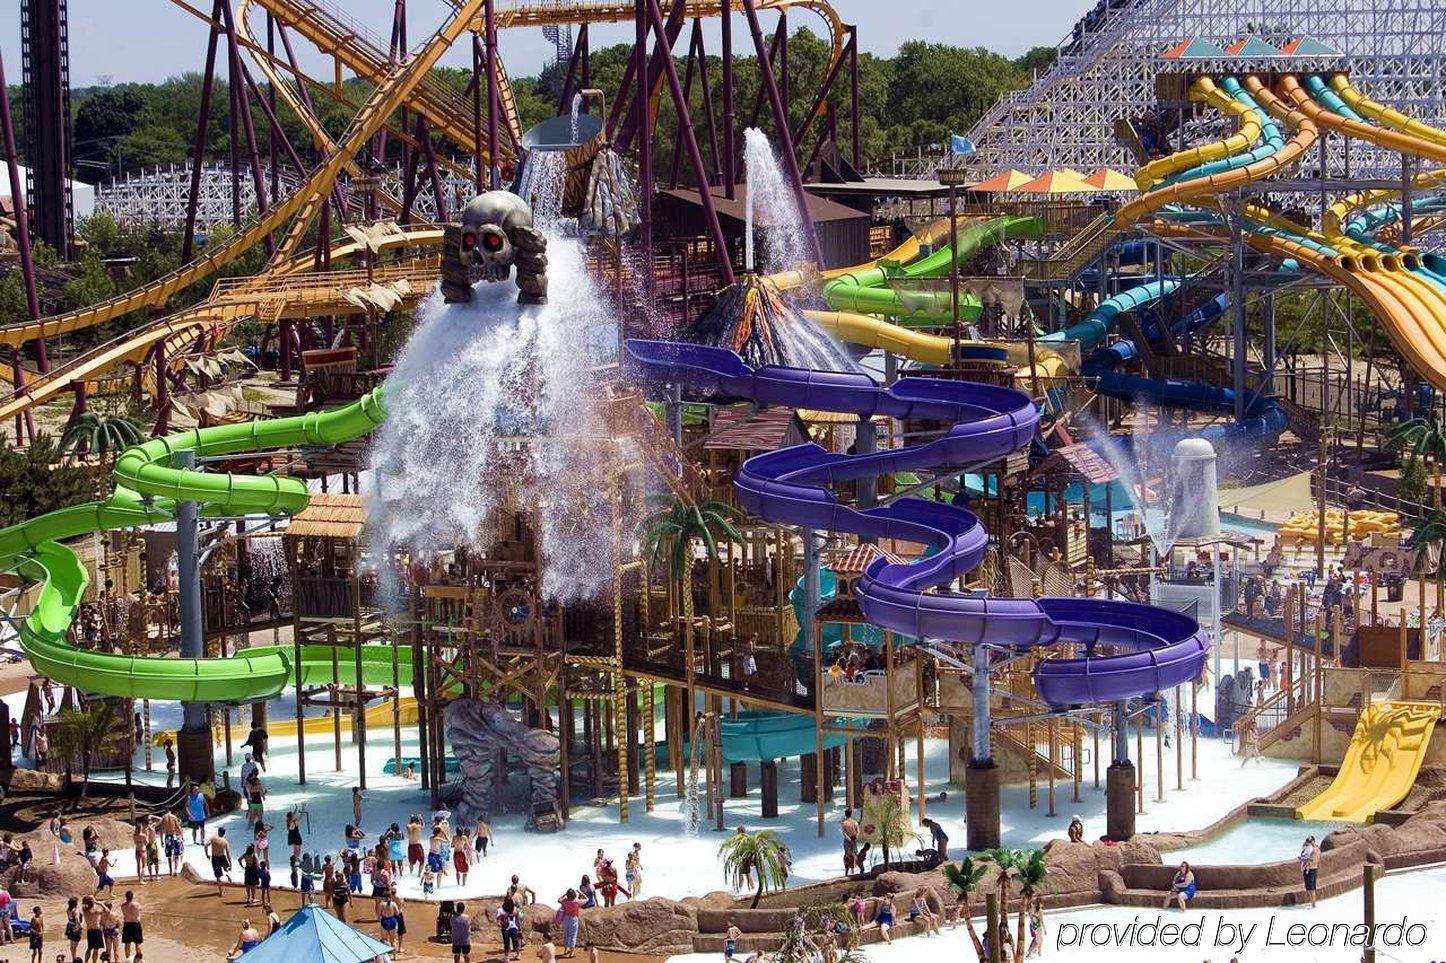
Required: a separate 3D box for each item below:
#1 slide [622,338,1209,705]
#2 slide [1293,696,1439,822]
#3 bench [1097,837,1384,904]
[{"bbox_3d":[5.048,0.936,72.875,13.738,9.954,5.924,-4,-5,38],"label":"slide"},{"bbox_3d":[17.090,7.318,74.050,4.153,2.979,2.012,1,-4,-35],"label":"slide"},{"bbox_3d":[12.090,9.707,68.062,7.496,1.075,2.103,-5,-1,-16],"label":"bench"}]
